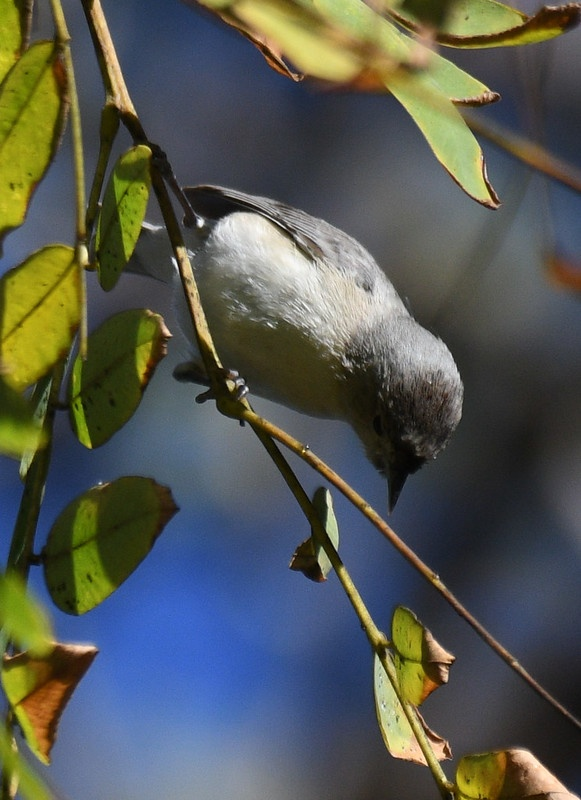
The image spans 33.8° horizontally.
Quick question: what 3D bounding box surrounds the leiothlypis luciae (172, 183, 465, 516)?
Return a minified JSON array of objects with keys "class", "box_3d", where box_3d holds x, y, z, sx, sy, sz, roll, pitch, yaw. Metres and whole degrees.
[{"class":"leiothlypis luciae","box_3d":[-0.014,-0.180,1.549,0.322,0.236,0.726,-19,38,-11]}]
